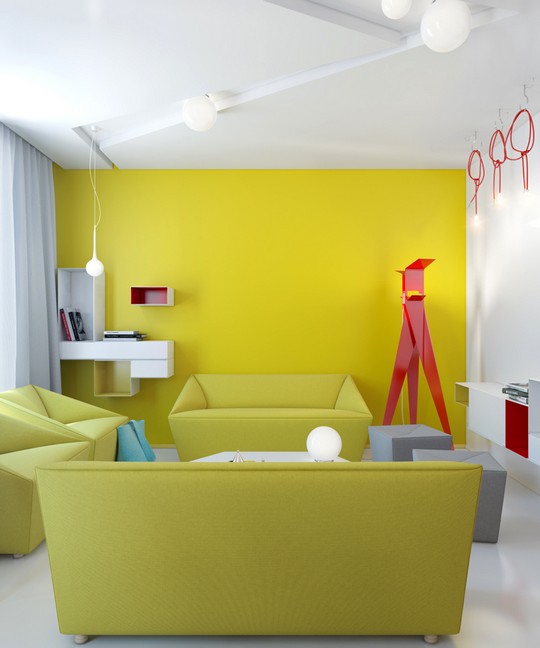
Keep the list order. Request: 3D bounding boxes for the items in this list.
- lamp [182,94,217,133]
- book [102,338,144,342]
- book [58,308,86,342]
[{"bbox_3d":[-0.439,-1.327,3.380,0.194,0.242,0.230,-2,4,-14],"label":"lamp"},{"bbox_3d":[-1.307,0.136,4.824,0.314,0.036,0.138,-2,5,-17],"label":"book"},{"bbox_3d":[-1.768,0.009,4.856,0.048,0.264,0.223,-10,-2,18],"label":"book"}]
